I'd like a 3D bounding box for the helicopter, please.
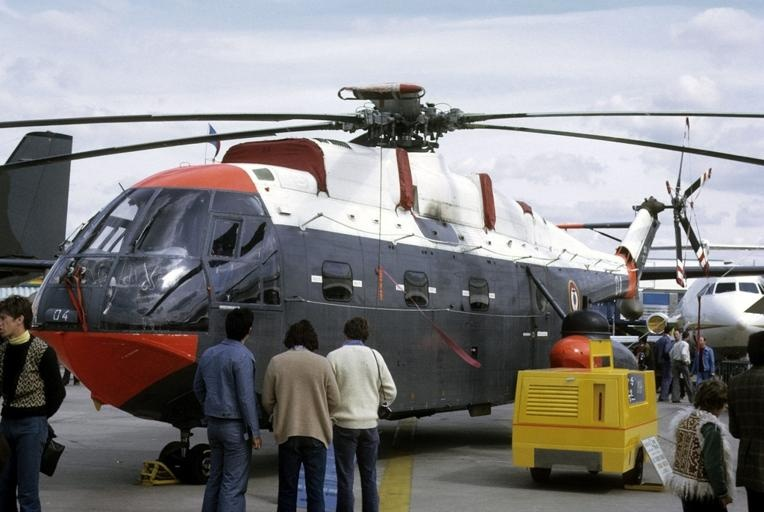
[{"bbox_3d":[-1.026,0.083,14.664,8.553,3.145,8.650,-1,-4,41],"label":"helicopter"}]
